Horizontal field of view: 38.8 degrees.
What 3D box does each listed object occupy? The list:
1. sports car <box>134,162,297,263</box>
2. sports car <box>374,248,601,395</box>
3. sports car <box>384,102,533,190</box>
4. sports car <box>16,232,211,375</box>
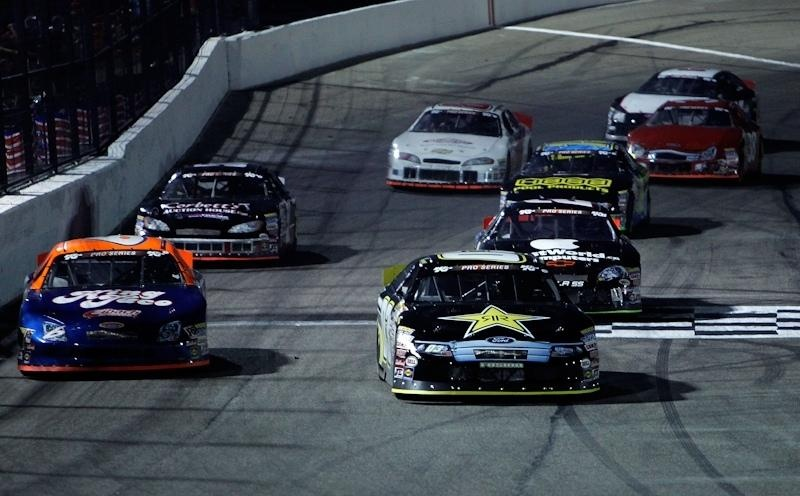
[{"bbox_3d":[-3.311,-0.872,20.669,2.908,1.066,3.413,7,19,4],"label":"sports car"},{"bbox_3d":[0.966,0.647,14.560,2.625,1.022,3.495,1,18,-4],"label":"sports car"},{"bbox_3d":[1.347,-2.559,24.484,2.661,1.013,3.613,8,32,15],"label":"sports car"},{"bbox_3d":[-3.877,0.374,15.533,2.826,0.994,3.430,1,24,-6],"label":"sports car"}]
